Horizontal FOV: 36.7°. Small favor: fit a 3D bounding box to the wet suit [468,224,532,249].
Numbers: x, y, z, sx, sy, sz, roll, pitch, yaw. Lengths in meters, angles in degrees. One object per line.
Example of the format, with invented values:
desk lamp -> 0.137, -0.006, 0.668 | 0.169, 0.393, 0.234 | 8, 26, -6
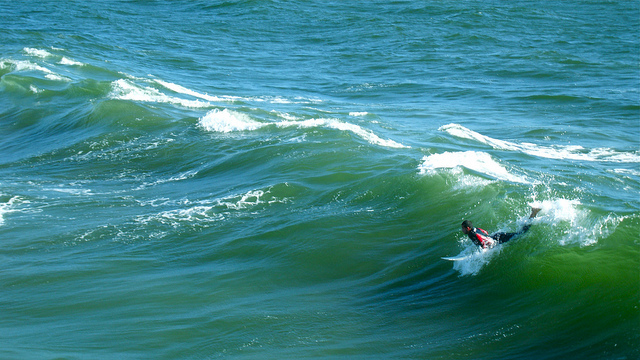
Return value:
wet suit -> 9.557, 2.993, 52.215 | 3.080, 0.828, 1.340 | -12, 8, 12
